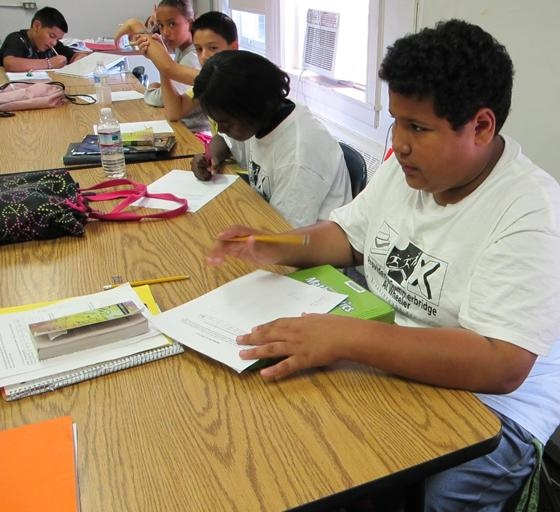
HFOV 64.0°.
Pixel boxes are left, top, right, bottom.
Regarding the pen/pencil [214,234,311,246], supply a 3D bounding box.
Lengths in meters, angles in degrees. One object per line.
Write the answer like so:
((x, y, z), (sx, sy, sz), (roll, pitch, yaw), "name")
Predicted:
((-0.047, -0.038, 1.088), (0.224, 0.023, 0.026), (-2, -1, 25), "pen/pencil")

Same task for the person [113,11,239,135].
((-0.585, -1.051, 2.573), (0.558, 0.678, 0.330), (-29, 45, -16), "person")
